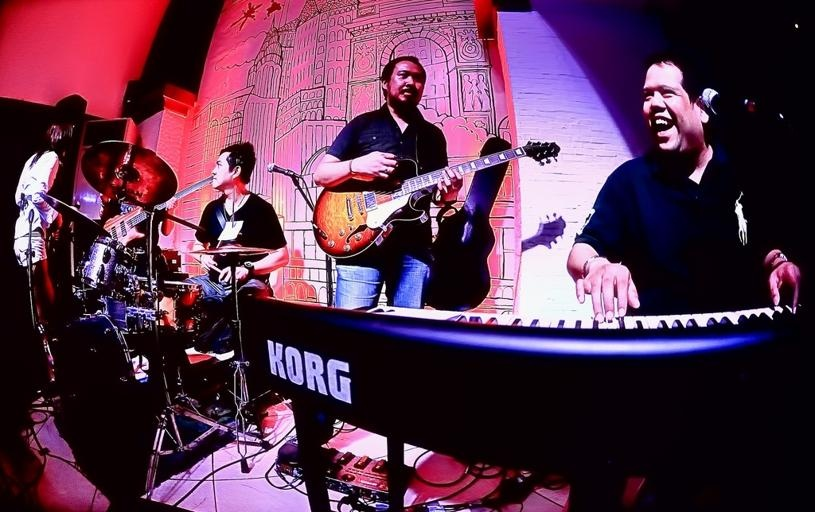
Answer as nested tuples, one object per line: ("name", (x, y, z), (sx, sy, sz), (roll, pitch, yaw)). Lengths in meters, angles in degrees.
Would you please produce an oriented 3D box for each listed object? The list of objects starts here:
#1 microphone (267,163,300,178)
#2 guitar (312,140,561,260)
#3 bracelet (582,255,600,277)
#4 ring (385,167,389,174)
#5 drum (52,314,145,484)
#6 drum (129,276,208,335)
("microphone", (-1.027, -0.695, 4.483), (0.337, 0.102, 0.113), (17, 19, 25))
("guitar", (0.123, -0.415, 4.469), (2.178, 0.727, 0.224), (-17, -11, 13))
("bracelet", (1.311, 0.073, 4.019), (0.036, 0.129, 0.132), (6, 43, -16))
("ring", (-0.164, -0.658, 4.225), (0.029, 0.040, 0.010), (4, -4, 10))
("drum", (-2.472, 1.216, 4.810), (0.784, 1.427, 0.301), (-25, -13, 10))
("drum", (-1.892, 0.417, 4.486), (0.503, 0.435, 0.404), (1, -5, 19))
